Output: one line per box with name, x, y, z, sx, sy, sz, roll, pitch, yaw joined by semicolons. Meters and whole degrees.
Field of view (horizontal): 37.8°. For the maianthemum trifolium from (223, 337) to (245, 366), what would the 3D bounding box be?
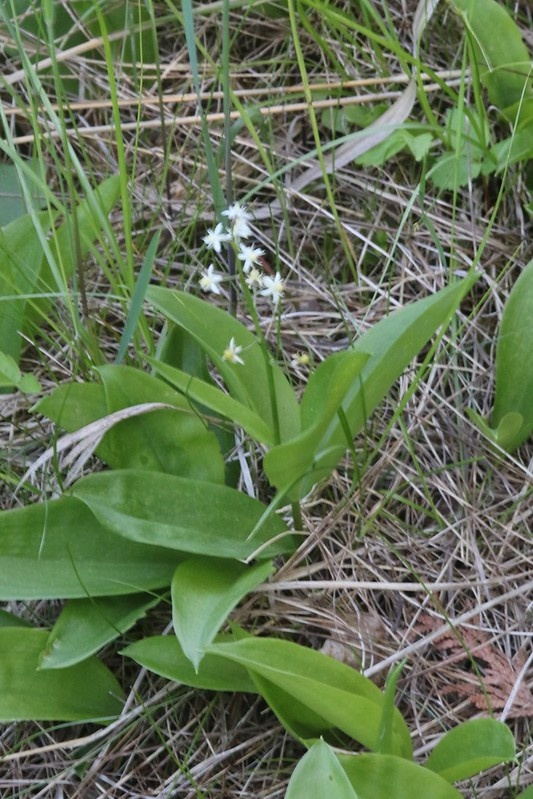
maianthemum trifolium;-0.038;-0.058;0.882;0.013;0.032;0.032;-13;81;-10
